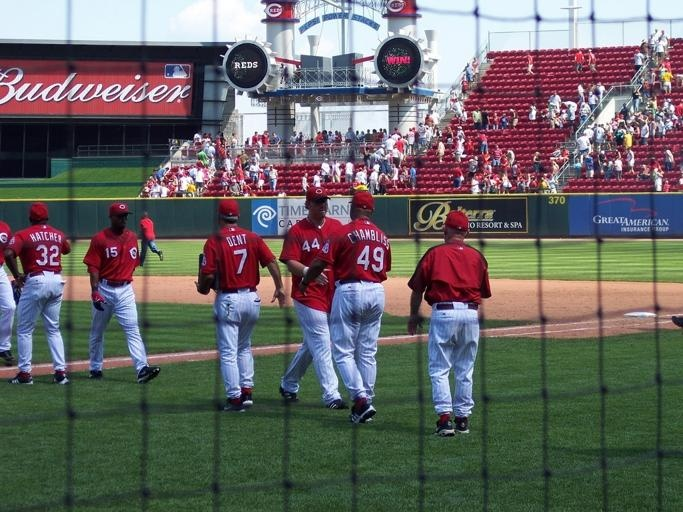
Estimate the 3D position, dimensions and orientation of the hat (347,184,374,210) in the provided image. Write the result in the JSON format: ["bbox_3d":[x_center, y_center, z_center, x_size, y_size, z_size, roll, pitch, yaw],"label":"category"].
[{"bbox_3d":[0.220,-0.677,14.639,0.241,0.183,0.361,1,20,-10],"label":"hat"}]

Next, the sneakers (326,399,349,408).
[{"bbox_3d":[-0.072,1.805,14.789,0.281,0.119,0.107,-2,2,16],"label":"sneakers"}]

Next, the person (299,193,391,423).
[{"bbox_3d":[0.156,0.598,14.491,0.890,2.598,0.876,13,20,43],"label":"person"}]

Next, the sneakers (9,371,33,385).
[{"bbox_3d":[-4.179,1.589,15.792,0.356,0.228,0.122,3,1,5],"label":"sneakers"}]

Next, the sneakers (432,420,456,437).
[{"bbox_3d":[1.186,1.963,14.053,0.231,0.178,0.204,0,14,3],"label":"sneakers"}]

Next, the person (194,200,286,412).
[{"bbox_3d":[-1.331,0.622,14.870,0.683,2.524,1.040,13,20,43],"label":"person"}]

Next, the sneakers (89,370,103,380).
[{"bbox_3d":[-3.268,1.590,16.138,0.154,0.150,0.100,4,1,28],"label":"sneakers"}]

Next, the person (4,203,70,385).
[{"bbox_3d":[-3.996,0.519,15.969,0.861,2.215,1.052,-4,15,-12],"label":"person"}]

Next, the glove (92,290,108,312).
[{"bbox_3d":[-3.145,0.593,15.826,0.239,0.212,0.192,-1,-2,-6],"label":"glove"}]

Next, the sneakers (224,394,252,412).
[{"bbox_3d":[-1.336,1.805,14.839,0.407,0.166,0.143,3,3,-11],"label":"sneakers"}]

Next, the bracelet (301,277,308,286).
[{"bbox_3d":[-0.456,0.322,14.400,0.069,0.101,0.094,2,0,1],"label":"bracelet"}]

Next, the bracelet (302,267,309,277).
[{"bbox_3d":[-0.455,0.200,14.477,0.090,0.084,0.089,0,4,-5],"label":"bracelet"}]

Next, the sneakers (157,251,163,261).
[{"bbox_3d":[-4.726,0.035,31.221,0.086,0.258,0.114,-16,36,-22],"label":"sneakers"}]

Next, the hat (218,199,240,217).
[{"bbox_3d":[-1.406,-0.532,14.799,0.245,0.250,0.384,-2,14,-6],"label":"hat"}]

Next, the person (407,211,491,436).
[{"bbox_3d":[1.310,0.779,14.148,0.847,2.441,0.800,-8,16,-27],"label":"person"}]

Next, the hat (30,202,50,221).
[{"bbox_3d":[-4.084,-0.564,16.274,0.302,0.220,0.431,0,13,-12],"label":"hat"}]

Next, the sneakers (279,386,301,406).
[{"bbox_3d":[-0.679,1.751,15.138,0.355,0.241,0.119,0,2,30],"label":"sneakers"}]

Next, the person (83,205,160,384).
[{"bbox_3d":[-2.937,0.528,15.898,1.105,2.330,0.642,8,16,30],"label":"person"}]
